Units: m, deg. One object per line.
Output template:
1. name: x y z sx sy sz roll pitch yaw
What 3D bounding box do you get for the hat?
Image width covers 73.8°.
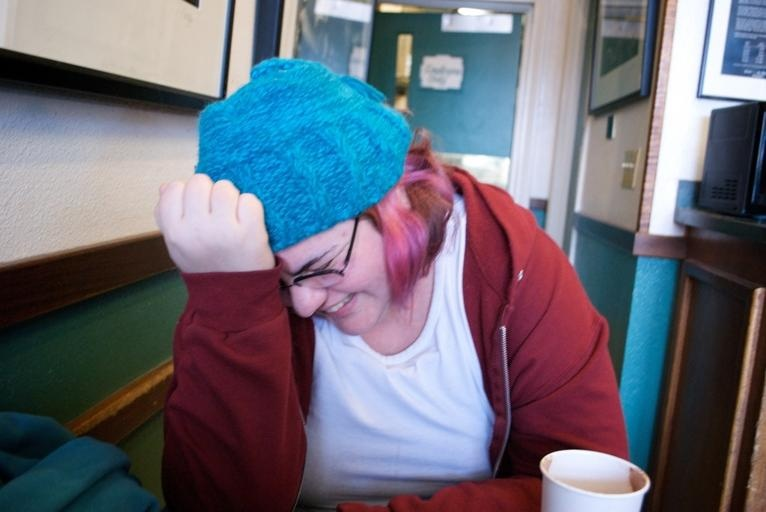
1. hat: -0.149 -0.198 1.019 0.430 0.372 0.122 -5 11 -18

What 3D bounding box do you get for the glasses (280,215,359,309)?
1. glasses: -0.100 0.022 1.079 0.160 0.052 0.173 -19 29 52
